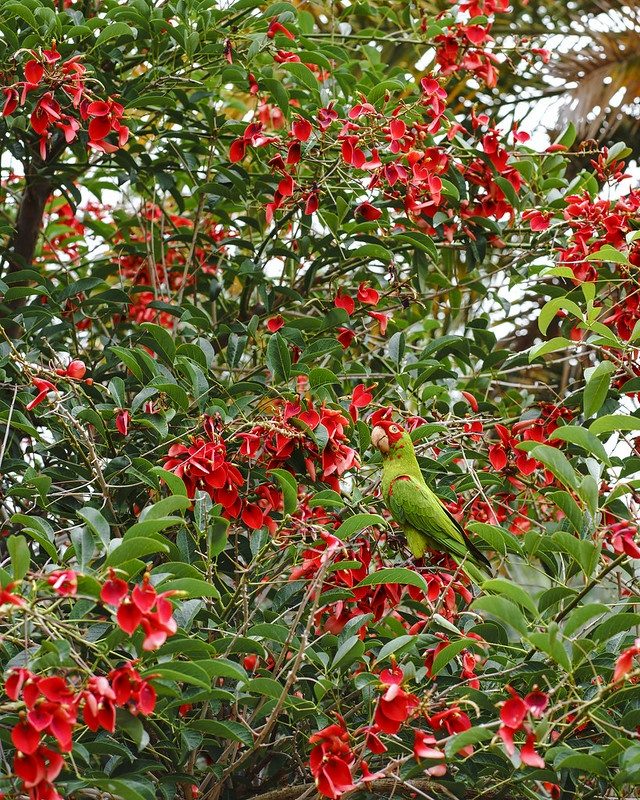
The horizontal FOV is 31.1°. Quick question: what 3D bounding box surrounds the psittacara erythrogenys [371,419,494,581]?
[{"bbox_3d":[0.348,0.322,3.661,0.513,0.450,0.231,16,15,2],"label":"psittacara erythrogenys"}]
